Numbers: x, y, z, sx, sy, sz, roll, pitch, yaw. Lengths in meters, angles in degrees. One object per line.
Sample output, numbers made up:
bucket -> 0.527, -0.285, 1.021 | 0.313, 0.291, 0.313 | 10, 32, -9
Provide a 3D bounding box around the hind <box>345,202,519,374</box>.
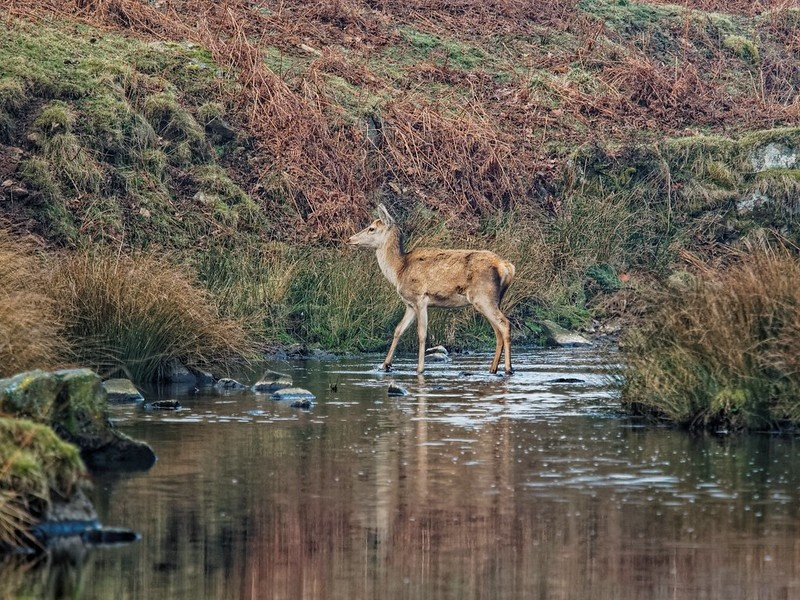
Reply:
hind -> 0.602, -0.018, 25.201 | 3.135, 2.582, 1.325 | 13, 18, 43
